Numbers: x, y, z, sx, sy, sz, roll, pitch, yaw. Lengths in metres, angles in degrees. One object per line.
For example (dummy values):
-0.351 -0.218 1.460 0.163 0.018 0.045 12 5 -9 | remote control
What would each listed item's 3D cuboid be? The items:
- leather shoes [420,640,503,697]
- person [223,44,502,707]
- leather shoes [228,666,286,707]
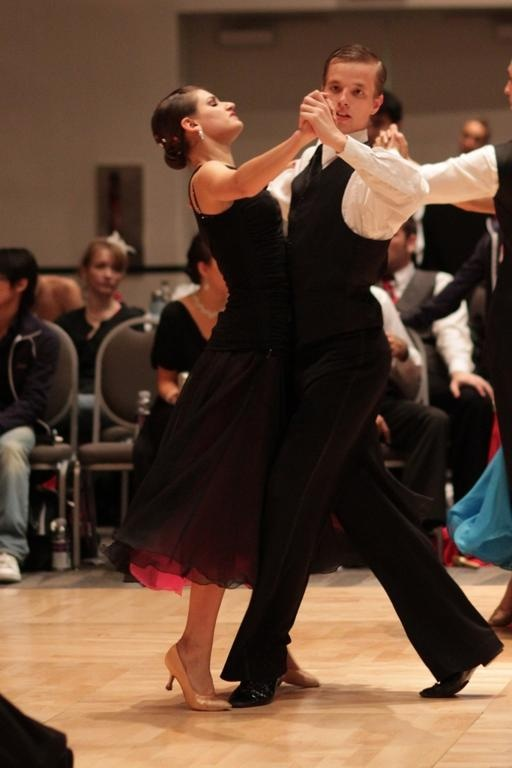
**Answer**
0.452 0.630 1.917 0.082 0.188 0.058 47 18 -20 | leather shoes
0.247 0.006 1.831 0.572 1.409 0.391 3 8 0 | person
-0.004 0.646 1.861 0.056 0.036 0.140 -2 0 29 | leather shoes
